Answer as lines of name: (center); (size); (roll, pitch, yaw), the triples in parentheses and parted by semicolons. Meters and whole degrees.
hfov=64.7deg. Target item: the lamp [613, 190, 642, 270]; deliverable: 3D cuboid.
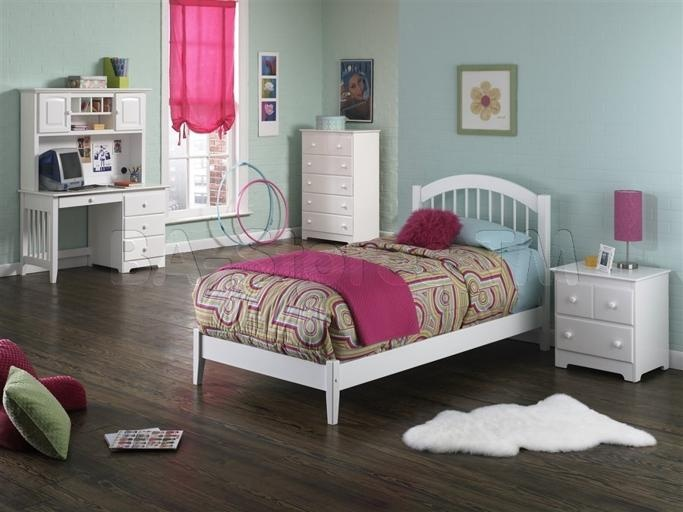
lamp: (1.844, -0.175, 3.493); (0.185, 0.488, 0.247); (6, 13, 29)

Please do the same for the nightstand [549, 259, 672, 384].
nightstand: (1.795, 0.432, 3.535); (0.532, 0.625, 0.667); (-2, 4, -18)

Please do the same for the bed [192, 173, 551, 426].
bed: (0.428, 0.134, 3.577); (2.435, 1.277, 1.366); (-10, 13, -43)

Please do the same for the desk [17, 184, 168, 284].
desk: (-2.747, -0.305, 6.058); (0.950, 1.233, 2.003); (5, 7, 41)

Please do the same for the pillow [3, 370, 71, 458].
pillow: (-1.330, 0.698, 2.380); (0.261, 0.340, 0.278); (-4, 12, -15)

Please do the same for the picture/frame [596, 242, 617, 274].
picture/frame: (1.719, 0.017, 3.508); (0.028, 0.202, 0.183); (5, 6, -20)

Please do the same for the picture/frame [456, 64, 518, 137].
picture/frame: (1.137, -1.212, 4.153); (0.583, 0.612, 0.042); (8, 15, 37)

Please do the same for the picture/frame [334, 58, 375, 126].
picture/frame: (0.222, -2.340, 7.673); (0.550, 0.882, 0.124); (8, 15, 37)
